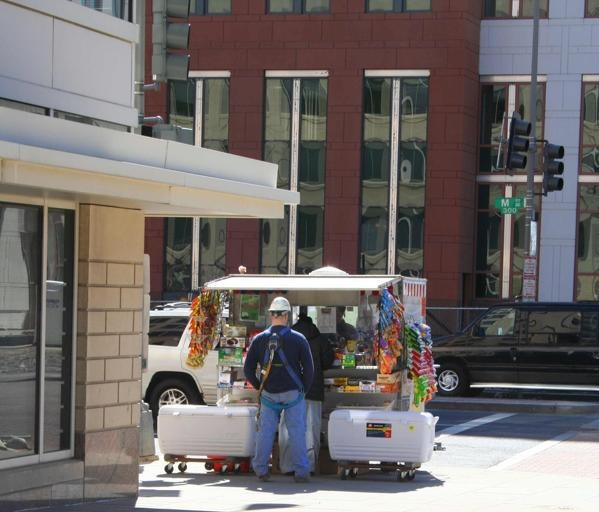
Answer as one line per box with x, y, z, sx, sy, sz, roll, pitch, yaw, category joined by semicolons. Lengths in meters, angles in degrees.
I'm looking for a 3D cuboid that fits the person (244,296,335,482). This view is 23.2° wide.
-0.253;1.733;18.559;0.867;2.311;0.506;-2;-3;0;person

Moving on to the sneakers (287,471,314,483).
0.045;2.846;18.648;0.234;0.093;0.114;6;-6;8;sneakers

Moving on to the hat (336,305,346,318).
0.596;0.826;20.471;0.102;0.144;0.145;5;-42;13;hat

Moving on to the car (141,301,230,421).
-1.961;1.672;23.276;1.890;1.127;1.155;-1;1;3;car

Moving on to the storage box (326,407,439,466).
1.039;2.313;18.855;1.000;0.544;0.745;-1;-5;13;storage box

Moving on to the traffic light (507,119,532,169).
3.970;-1.979;26.330;0.457;0.985;1.686;-2;-4;9;traffic light

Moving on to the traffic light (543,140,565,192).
4.668;-1.498;26.817;0.322;0.950;0.294;4;6;34;traffic light
